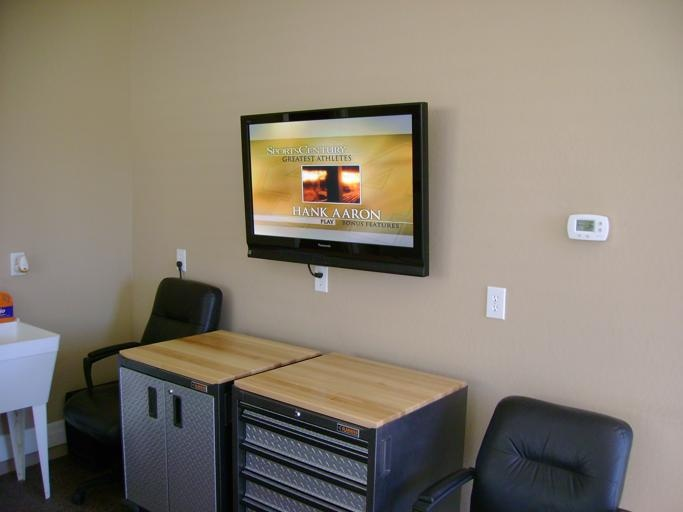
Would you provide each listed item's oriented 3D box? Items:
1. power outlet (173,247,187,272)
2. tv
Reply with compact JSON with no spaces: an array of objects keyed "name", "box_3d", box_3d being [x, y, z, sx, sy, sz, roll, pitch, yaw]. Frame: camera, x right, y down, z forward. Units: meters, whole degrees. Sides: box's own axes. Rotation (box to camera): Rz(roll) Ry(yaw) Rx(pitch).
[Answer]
[{"name":"power outlet","box_3d":[-1.131,0.014,3.776,0.152,0.204,0.023,10,15,41]},{"name":"tv","box_3d":[-0.008,-0.366,2.817,1.003,0.690,0.071,5,13,34]}]
